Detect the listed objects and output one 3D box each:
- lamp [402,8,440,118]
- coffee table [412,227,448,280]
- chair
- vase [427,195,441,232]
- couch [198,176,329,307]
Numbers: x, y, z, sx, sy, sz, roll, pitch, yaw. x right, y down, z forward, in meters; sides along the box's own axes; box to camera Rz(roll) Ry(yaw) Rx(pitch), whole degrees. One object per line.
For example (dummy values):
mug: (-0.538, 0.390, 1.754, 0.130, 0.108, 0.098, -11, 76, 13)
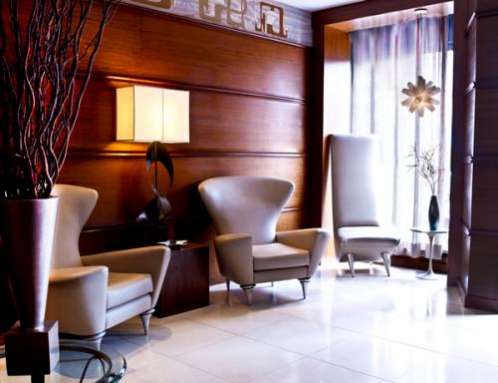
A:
lamp: (2.111, -1.542, 4.593, 0.436, 1.233, 0.389, 2, 5, 28)
coffee table: (2.172, 0.717, 4.506, 0.381, 0.588, 0.570, 2, 4, 28)
chair: (1.390, 0.141, 4.611, 0.784, 1.710, 0.875, 0, 4, 12)
vase: (2.159, 0.243, 4.360, 0.111, 0.402, 0.232, 1, 4, 25)
couch: (0.102, 0.416, 4.022, 1.324, 1.380, 1.185, 1, -5, -31)
